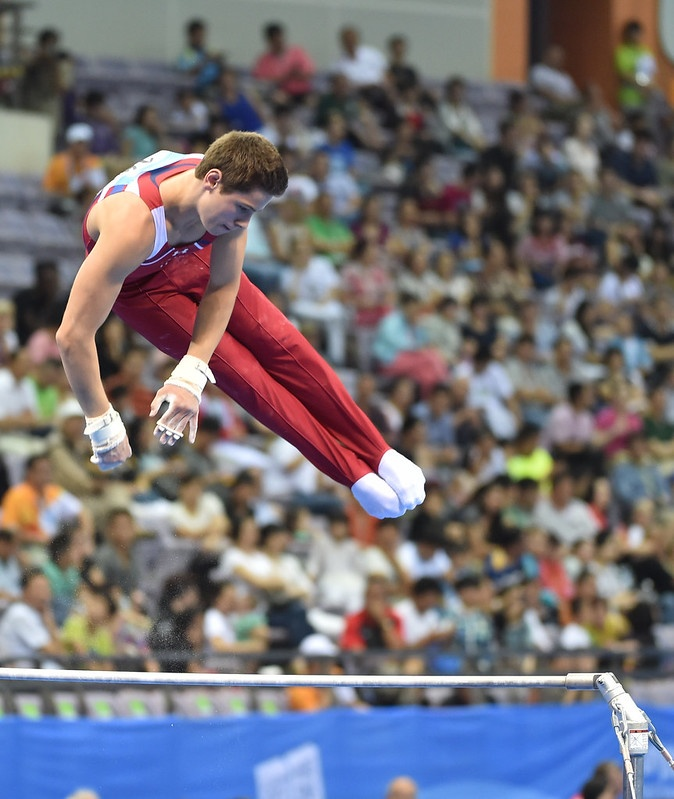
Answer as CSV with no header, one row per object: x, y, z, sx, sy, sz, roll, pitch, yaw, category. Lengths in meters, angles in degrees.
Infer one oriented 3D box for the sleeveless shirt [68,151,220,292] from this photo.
-0.692,-0.670,5.338,0.324,0.505,0.417,11,15,32,sleeveless shirt

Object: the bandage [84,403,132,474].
-0.875,0.161,5.332,0.166,0.267,0.194,4,12,3,bandage
